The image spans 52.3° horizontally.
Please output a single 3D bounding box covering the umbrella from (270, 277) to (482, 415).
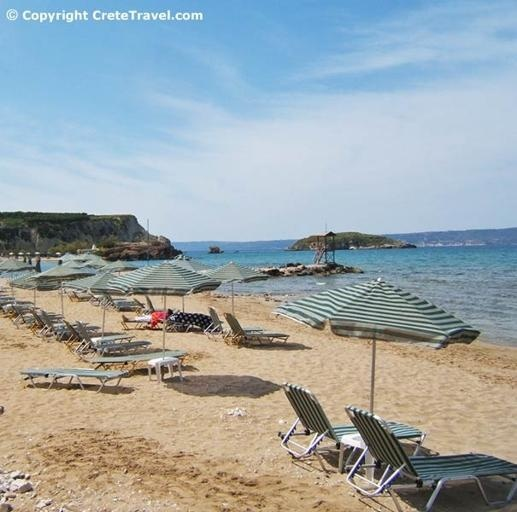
[{"bbox_3d":[1.249,1.091,5.797,2.028,1.109,1.773,0,6,4],"label":"umbrella"}]
